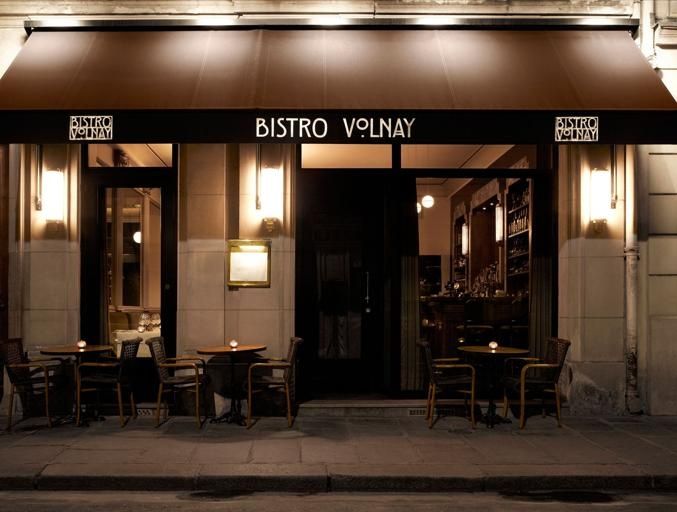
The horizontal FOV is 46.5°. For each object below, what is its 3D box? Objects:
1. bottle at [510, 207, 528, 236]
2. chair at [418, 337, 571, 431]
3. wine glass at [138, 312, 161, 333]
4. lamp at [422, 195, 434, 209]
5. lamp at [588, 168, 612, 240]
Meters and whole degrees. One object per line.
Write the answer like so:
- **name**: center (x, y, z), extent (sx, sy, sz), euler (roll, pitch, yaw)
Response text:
- **bottle**: center (3.295, -0.643, 14.319), extent (0.091, 0.432, 0.490), euler (4, -7, -9)
- **chair**: center (2.427, 1.941, 12.176), extent (2.009, 1.441, 1.255), euler (0, -6, 5)
- **wine glass**: center (-3.043, 1.064, 12.781), extent (0.389, 0.418, 0.258), euler (0, 8, -1)
- **lamp**: center (1.449, -0.879, 12.781), extent (0.194, 0.234, 0.203), euler (2, 4, 28)
- **lamp**: center (4.137, -0.849, 12.433), extent (0.350, 1.039, 0.110), euler (-1, -3, 11)
